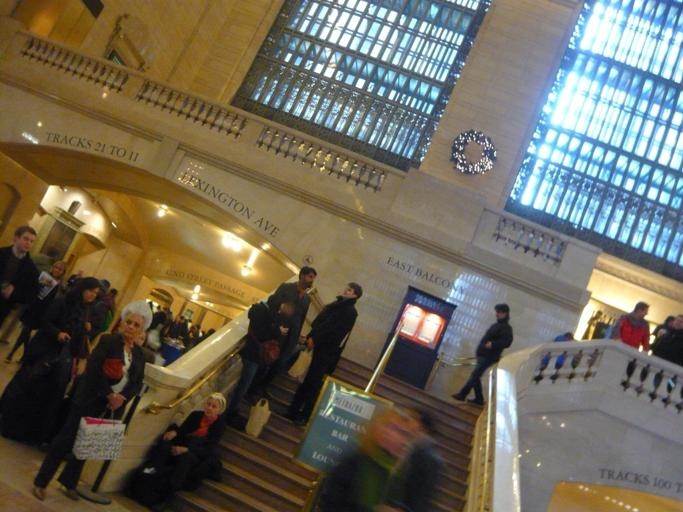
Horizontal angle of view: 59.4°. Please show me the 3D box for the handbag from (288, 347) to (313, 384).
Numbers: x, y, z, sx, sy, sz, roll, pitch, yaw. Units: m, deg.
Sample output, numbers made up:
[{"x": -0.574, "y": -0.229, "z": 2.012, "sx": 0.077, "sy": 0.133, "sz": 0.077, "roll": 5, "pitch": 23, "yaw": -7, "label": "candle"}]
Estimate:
[{"x": -0.628, "y": 1.690, "z": 9.514, "sx": 0.211, "sy": 0.572, "sz": 0.429, "roll": 25, "pitch": -24, "yaw": 20, "label": "handbag"}]

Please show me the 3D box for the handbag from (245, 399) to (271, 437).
[{"x": -1.205, "y": 2.372, "z": 8.887, "sx": 0.309, "sy": 0.536, "sz": 0.299, "roll": 22, "pitch": -7, "yaw": -8, "label": "handbag"}]

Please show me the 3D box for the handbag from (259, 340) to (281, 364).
[{"x": -1.059, "y": 1.413, "z": 8.944, "sx": 0.311, "sy": 0.351, "sz": 0.131, "roll": 27, "pitch": -9, "yaw": -39, "label": "handbag"}]

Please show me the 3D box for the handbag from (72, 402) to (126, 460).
[{"x": -2.774, "y": 2.013, "z": 6.991, "sx": 0.467, "sy": 0.661, "sz": 0.226, "roll": 8, "pitch": 6, "yaw": -28, "label": "handbag"}]
